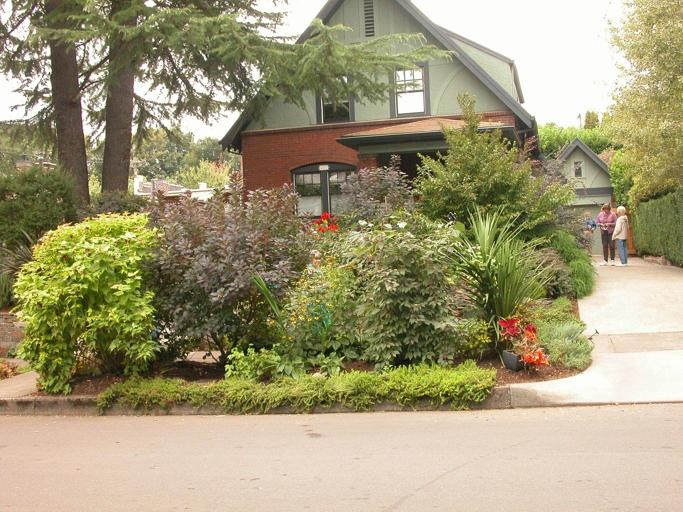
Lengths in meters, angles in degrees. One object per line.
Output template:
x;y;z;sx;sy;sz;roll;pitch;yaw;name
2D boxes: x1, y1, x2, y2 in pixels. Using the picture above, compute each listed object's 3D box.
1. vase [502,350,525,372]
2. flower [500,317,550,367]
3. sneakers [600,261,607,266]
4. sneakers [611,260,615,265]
2.430;1.483;9.985;0.254;0.231;0.215;-1;4;-15;vase
2.589;1.372;10.340;0.507;0.798;0.783;-2;-19;45;flower
8.855;0.240;23.918;0.114;0.157;0.342;0;-4;45;sneakers
8.935;0.209;23.325;0.133;0.218;0.131;-1;-9;-33;sneakers
